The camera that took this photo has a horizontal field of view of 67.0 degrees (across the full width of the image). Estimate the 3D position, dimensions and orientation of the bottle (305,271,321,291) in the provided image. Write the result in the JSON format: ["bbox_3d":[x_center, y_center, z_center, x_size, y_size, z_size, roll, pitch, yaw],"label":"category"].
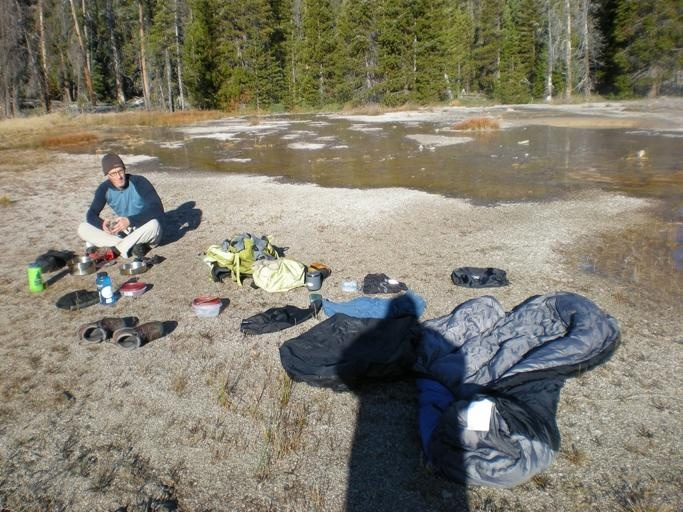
[{"bbox_3d":[-0.353,0.266,6.322,0.220,0.206,0.226,0,4,-2],"label":"bottle"}]

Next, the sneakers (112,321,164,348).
[{"bbox_3d":[-2.090,0.791,5.341,0.479,0.201,0.185,-15,15,-22],"label":"sneakers"}]

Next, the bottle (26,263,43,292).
[{"bbox_3d":[-3.785,0.223,6.354,0.185,0.350,0.199,-2,16,1],"label":"bottle"}]

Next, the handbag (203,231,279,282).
[{"bbox_3d":[-1.371,-0.056,6.714,0.781,0.359,0.760,13,19,21],"label":"handbag"}]

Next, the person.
[{"bbox_3d":[-3.137,-0.805,7.380,1.008,1.466,0.806,1,17,12],"label":"person"}]

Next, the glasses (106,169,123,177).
[{"bbox_3d":[-3.179,-1.242,7.283,0.143,0.086,0.168,-29,13,-23],"label":"glasses"}]

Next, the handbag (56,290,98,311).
[{"bbox_3d":[-3.114,0.473,6.100,0.463,0.157,0.381,-3,15,-3],"label":"handbag"}]

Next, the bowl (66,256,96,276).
[{"bbox_3d":[-3.439,0.084,6.822,0.295,0.165,0.283,2,11,0],"label":"bowl"}]
